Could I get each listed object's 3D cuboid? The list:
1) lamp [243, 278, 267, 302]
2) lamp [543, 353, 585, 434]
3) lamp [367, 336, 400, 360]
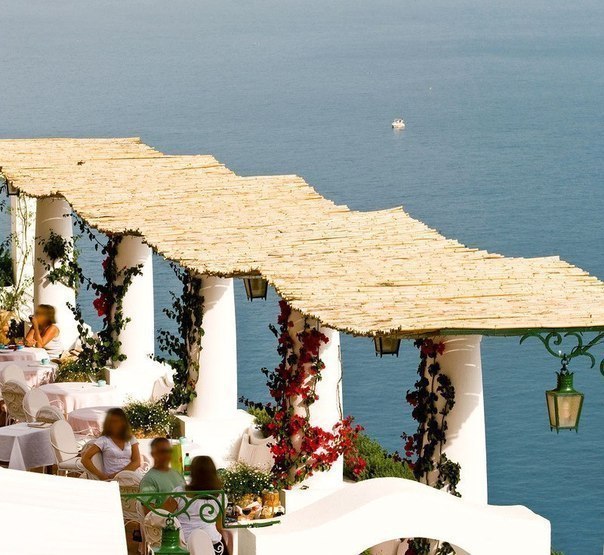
[{"bbox_3d":[-1.390,0.372,59.923,0.720,0.564,0.694,1,23,-7],"label":"lamp"},{"bbox_3d":[7.322,3.257,55.122,1.026,2.102,1.035,0,3,7],"label":"lamp"},{"bbox_3d":[2.387,2.011,56.841,0.776,0.835,0.687,1,9,-13],"label":"lamp"}]
